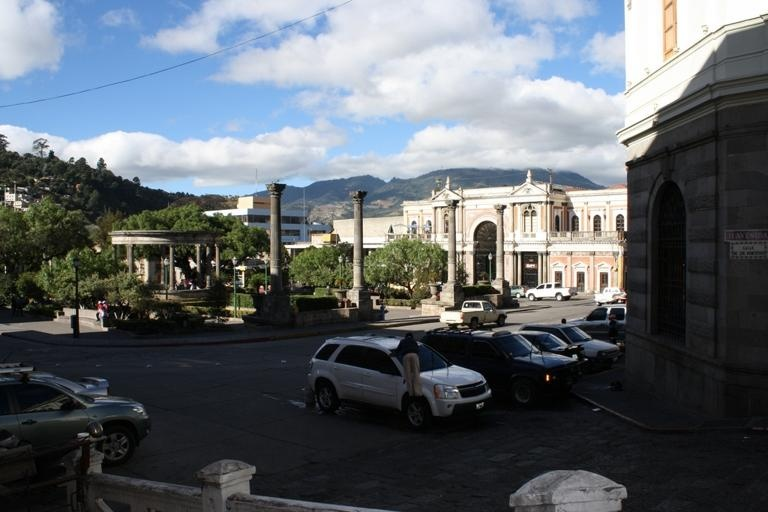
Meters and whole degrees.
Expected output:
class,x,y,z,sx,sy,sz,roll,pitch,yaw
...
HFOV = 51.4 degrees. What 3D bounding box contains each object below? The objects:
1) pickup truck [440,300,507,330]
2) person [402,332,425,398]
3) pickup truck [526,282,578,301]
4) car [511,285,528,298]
class,x,y,z,sx,sy,sz,roll,pitch,yaw
pickup truck,5.233,3.554,47.744,3.356,1.228,1.737,0,0,-42
person,0.805,3.183,23.094,0.529,1.679,0.800,-1,5,-7
pickup truck,15.697,3.467,75.532,3.921,1.466,1.944,0,0,33
car,12.973,3.551,77.280,1.804,0.865,1.056,2,1,2
